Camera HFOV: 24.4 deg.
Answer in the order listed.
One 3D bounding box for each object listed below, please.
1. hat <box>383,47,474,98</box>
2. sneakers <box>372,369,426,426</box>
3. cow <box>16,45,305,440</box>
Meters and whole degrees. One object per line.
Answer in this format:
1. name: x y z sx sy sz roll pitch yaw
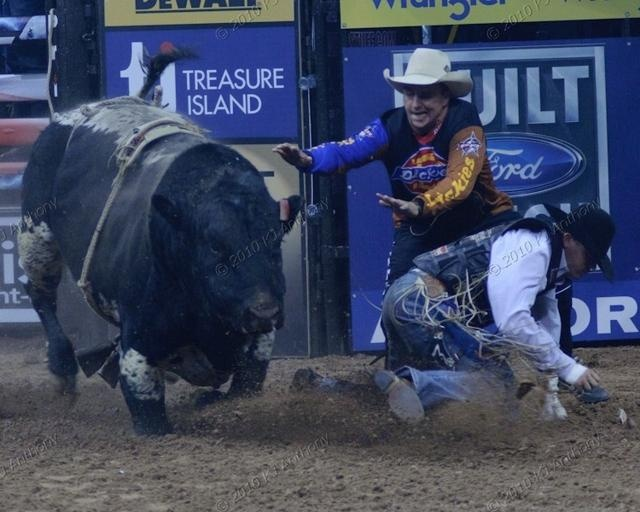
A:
1. hat: 0.712 -1.325 10.700 0.680 0.279 0.719 2 -6 31
2. sneakers: 0.526 0.966 10.198 0.221 0.453 0.207 -35 10 8
3. cow: -1.243 0.032 10.718 1.050 2.497 2.527 6 -8 -42
